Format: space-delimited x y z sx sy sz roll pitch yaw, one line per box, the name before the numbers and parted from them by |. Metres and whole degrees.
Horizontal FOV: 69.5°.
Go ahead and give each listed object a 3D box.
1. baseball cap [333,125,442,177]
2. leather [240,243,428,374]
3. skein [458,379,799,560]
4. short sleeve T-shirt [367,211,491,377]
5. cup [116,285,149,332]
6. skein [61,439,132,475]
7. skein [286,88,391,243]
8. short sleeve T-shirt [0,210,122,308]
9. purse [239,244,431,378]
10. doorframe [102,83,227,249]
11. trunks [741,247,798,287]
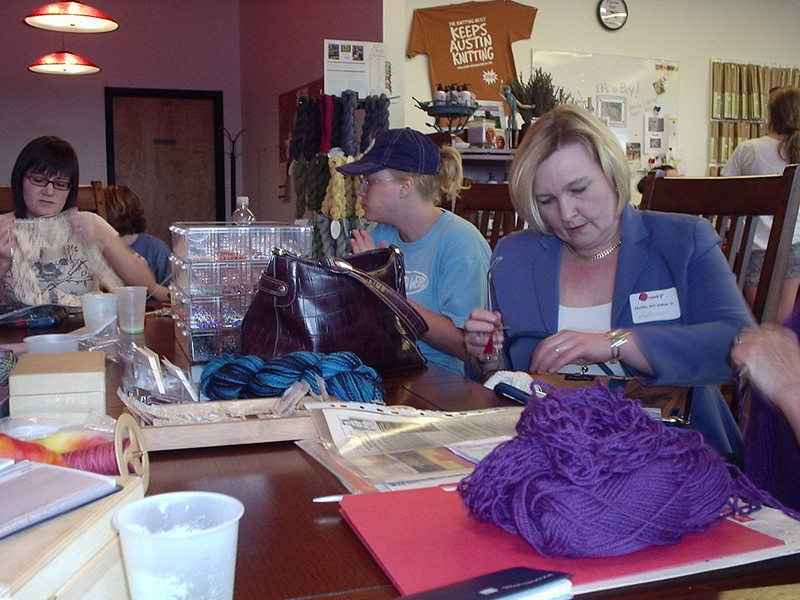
baseball cap | -0.043 -0.569 2.227 0.456 0.187 0.293 -1 13 -8
leather | -0.153 0.022 1.411 0.420 0.267 0.216 -4 8 -32
skein | 0.201 0.180 0.639 0.257 0.114 0.156 -5 -4 5
short sleeve T-shirt | 0.096 -0.011 1.690 0.269 0.496 0.482 -12 9 -38
cup | -0.839 0.030 1.794 0.106 0.138 0.103 -2 1 0
skein | -0.335 0.172 0.638 0.061 0.037 0.027 2 4 2
skein | -0.339 -0.677 2.781 0.495 0.865 0.164 3 -14 -17
short sleeve T-shirt | -1.310 -0.153 2.209 0.161 0.292 0.300 -16 7 34
purse | -0.141 0.024 1.412 0.440 0.284 0.225 -5 10 -37
doorframe | -2.885 -1.622 7.075 1.342 2.341 0.066 -4 -23 -16
trunks | 1.427 -0.122 2.217 0.220 0.161 0.154 -6 6 3
